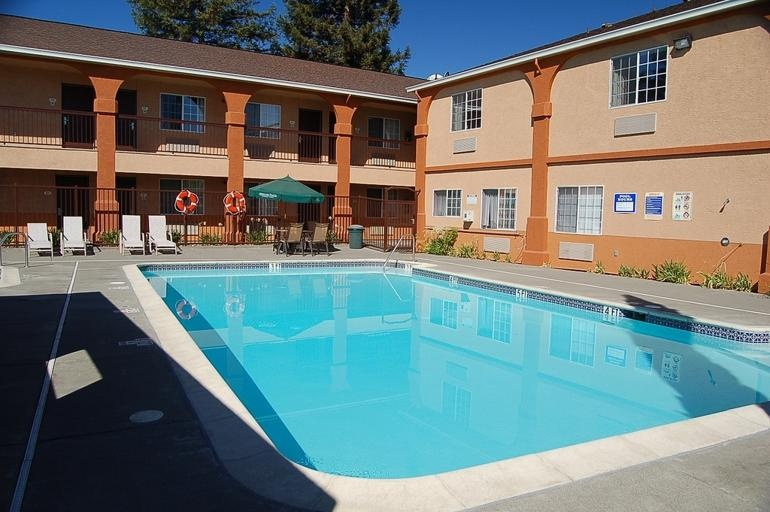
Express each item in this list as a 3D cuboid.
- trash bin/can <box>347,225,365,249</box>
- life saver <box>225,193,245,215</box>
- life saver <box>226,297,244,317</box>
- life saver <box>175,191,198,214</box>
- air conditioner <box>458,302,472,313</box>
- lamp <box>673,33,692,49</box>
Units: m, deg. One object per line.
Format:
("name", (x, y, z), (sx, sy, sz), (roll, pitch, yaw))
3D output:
("trash bin/can", (-1.251, -0.842, 21.768), (0.558, 1.018, 0.481), (3, 13, 2))
("life saver", (-6.096, -2.123, 20.770), (0.785, 0.844, 0.240), (-4, -1, -32))
("life saver", (-3.458, 1.148, 11.952), (0.395, 0.514, 0.399), (2, -2, -26))
("life saver", (-7.419, -2.002, 19.471), (0.657, 0.917, 0.677), (-1, 13, -17))
("air conditioner", (1.919, 1.245, 12.681), (0.158, 0.229, 0.292), (-4, 10, -33))
("lamp", (8.224, -5.927, 14.554), (0.300, 0.473, 0.457), (2, 1, -31))
